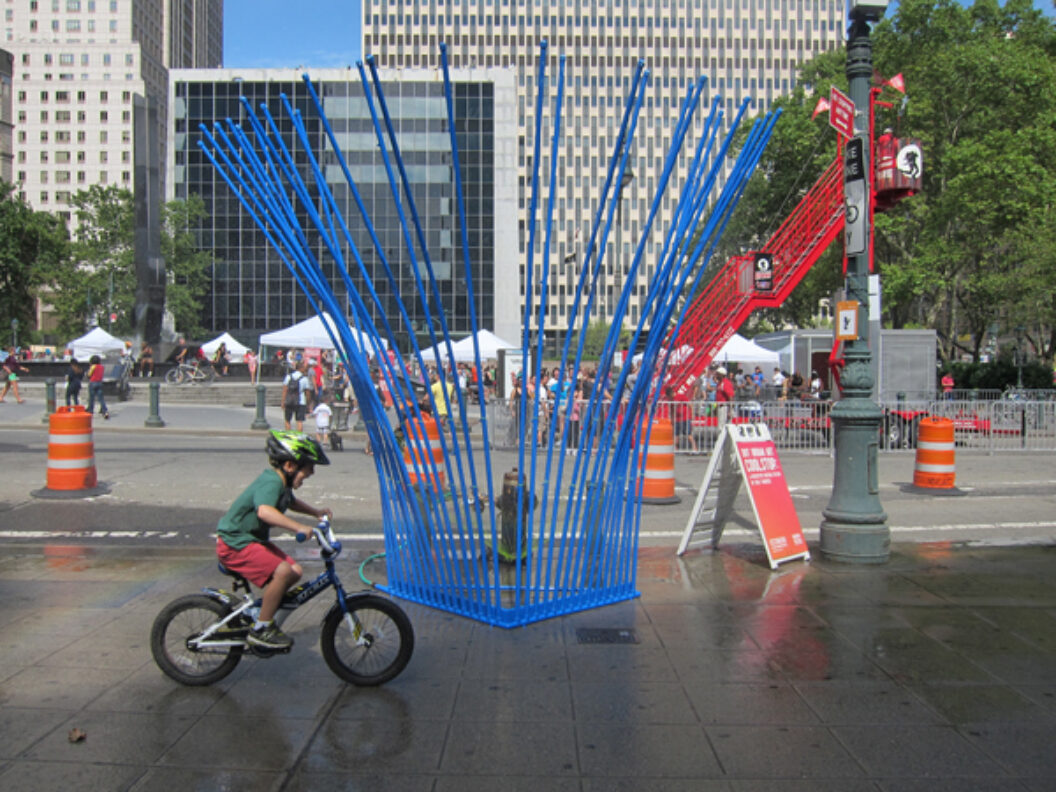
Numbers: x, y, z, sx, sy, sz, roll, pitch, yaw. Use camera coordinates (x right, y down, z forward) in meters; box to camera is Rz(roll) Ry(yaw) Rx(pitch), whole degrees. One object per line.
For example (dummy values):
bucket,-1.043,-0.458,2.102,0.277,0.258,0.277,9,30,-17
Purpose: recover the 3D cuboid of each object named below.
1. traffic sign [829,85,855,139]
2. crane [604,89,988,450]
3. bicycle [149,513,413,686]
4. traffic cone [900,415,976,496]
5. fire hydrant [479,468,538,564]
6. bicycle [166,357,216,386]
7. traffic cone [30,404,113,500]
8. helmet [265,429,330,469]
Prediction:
traffic sign,3.457,-3.144,13.311,0.251,0.609,0.594,1,6,15
crane,5.760,-2.615,24.238,6.946,8.534,6.396,-7,4,-8
bicycle,-1.991,1.636,9.624,2.099,1.350,0.447,0,5,4
traffic cone,6.213,0.891,18.435,0.681,1.112,0.970,2,6,18
fire hydrant,-0.193,1.245,12.345,0.529,0.949,0.660,3,4,3
bicycle,-11.949,-0.805,42.368,1.560,0.766,2.128,-2,6,-21
traffic cone,-6.466,0.797,17.044,0.815,1.231,0.697,-3,6,-22
helmet,-1.880,0.422,9.752,0.426,0.186,0.294,9,0,-13
